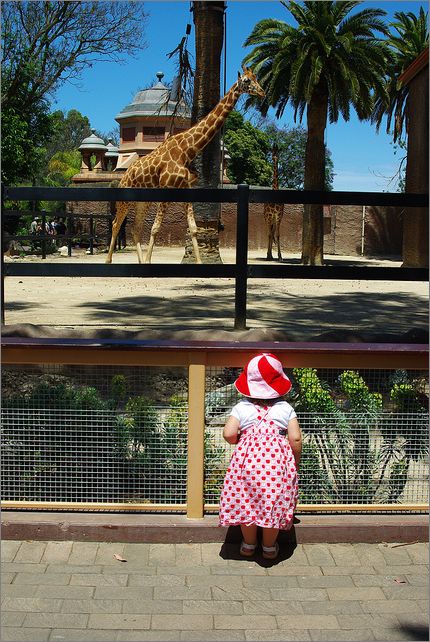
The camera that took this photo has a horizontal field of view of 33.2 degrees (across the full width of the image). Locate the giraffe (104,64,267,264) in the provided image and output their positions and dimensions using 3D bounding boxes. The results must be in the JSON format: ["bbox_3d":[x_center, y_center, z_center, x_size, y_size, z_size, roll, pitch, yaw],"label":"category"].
[{"bbox_3d":[-0.638,-2.479,11.758,1.925,3.285,2.560,-8,16,-38],"label":"giraffe"}]

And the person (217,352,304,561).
[{"bbox_3d":[0.213,0.631,3.317,0.363,0.935,0.338,3,13,7],"label":"person"}]

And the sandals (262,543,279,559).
[{"bbox_3d":[0.257,1.060,3.304,0.077,0.043,0.134,-1,-7,-1],"label":"sandals"}]

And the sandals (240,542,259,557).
[{"bbox_3d":[0.163,1.065,3.343,0.076,0.044,0.129,0,-2,5],"label":"sandals"}]
